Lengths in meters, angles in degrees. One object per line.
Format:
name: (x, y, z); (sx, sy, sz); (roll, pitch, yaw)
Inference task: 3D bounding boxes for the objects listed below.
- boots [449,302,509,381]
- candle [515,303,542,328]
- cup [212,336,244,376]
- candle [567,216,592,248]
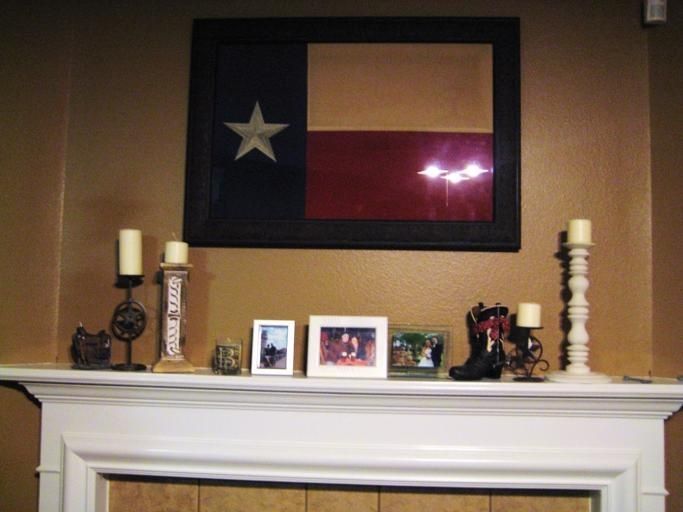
boots: (0.586, 0.354, 3.654); (0.333, 0.421, 0.198); (0, -7, 7)
candle: (0.757, 0.240, 3.649); (0.096, 0.098, 0.093); (2, -5, -2)
cup: (-0.468, 0.413, 3.690); (0.123, 0.153, 0.129); (1, 0, 0)
candle: (0.964, -0.104, 3.656); (0.101, 0.122, 0.105); (1, -6, -3)
